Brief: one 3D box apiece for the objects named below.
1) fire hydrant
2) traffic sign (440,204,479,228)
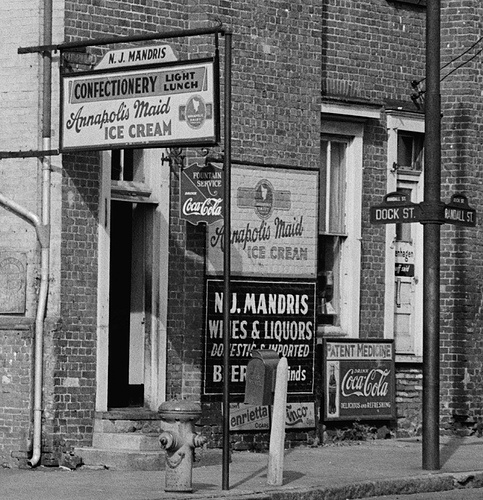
[{"bbox_3d":[-0.612,2.016,18.104,0.473,0.939,0.330,0,-5,-3],"label":"fire hydrant"},{"bbox_3d":[2.545,-0.428,20.267,0.122,0.232,0.644,-4,-7,38],"label":"traffic sign"}]
